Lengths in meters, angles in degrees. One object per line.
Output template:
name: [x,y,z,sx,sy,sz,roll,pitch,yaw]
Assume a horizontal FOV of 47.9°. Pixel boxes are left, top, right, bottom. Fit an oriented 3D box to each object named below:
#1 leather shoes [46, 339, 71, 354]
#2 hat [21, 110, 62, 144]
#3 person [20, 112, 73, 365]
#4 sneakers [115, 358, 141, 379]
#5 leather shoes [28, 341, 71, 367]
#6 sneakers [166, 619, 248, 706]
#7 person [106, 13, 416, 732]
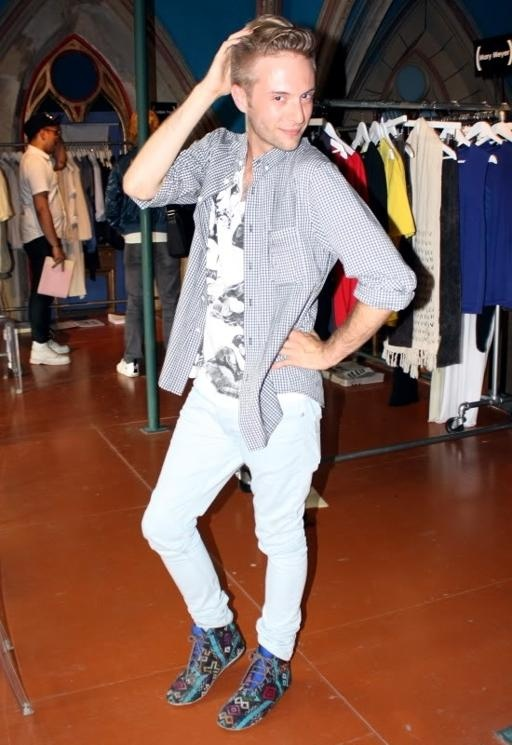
leather shoes: [-1.969,-0.252,5.754,0.263,0.105,0.090,14,27,-14]
hat: [-1.947,-2.237,5.227,0.290,0.285,0.254,-4,11,-16]
person: [-2.047,-1.241,5.589,0.421,2.261,0.931,-4,11,-18]
sneakers: [-1.129,-0.040,5.100,0.104,0.114,0.273,-3,17,-19]
leather shoes: [-1.895,-0.181,5.471,0.456,0.279,0.170,-2,19,-13]
sneakers: [-0.132,0.795,1.567,0.237,0.171,0.082,-45,30,-15]
person: [0.037,0.118,1.276,0.629,1.566,0.411,3,11,22]
